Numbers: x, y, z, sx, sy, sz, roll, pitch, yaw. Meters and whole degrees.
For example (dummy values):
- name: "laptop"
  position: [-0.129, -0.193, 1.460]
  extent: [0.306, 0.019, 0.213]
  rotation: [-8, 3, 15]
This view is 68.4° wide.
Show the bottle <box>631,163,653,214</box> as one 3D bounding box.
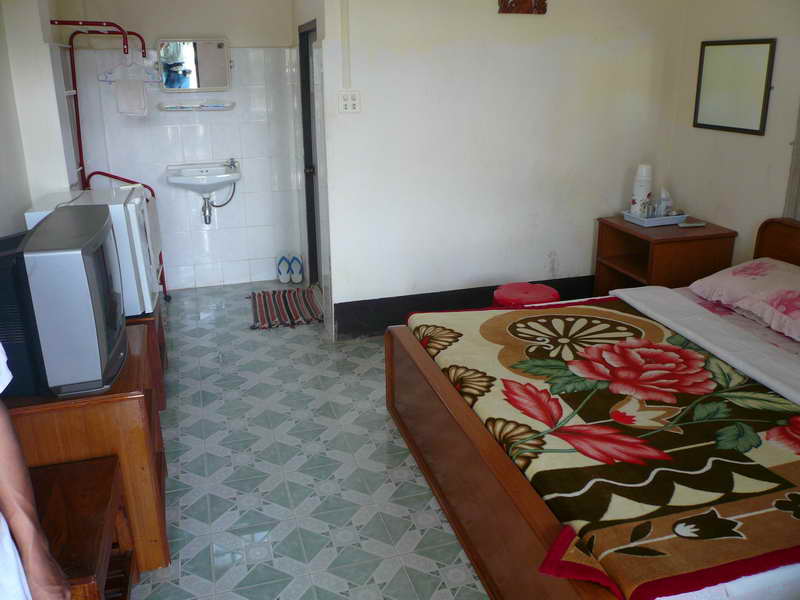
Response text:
- name: "bottle"
  position: [1.943, -0.884, 4.702]
  extent: [0.136, 0.372, 0.239]
  rotation: [6, 20, 21]

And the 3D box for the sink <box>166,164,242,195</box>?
- name: "sink"
  position: [-1.825, -1.133, 5.543]
  extent: [0.695, 0.290, 0.386]
  rotation: [-8, 20, -20]

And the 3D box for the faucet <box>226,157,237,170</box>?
- name: "faucet"
  position: [-1.618, -1.318, 5.694]
  extent: [0.092, 0.110, 0.119]
  rotation: [-1, 46, -11]

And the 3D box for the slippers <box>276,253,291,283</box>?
- name: "slippers"
  position: [-1.179, -0.319, 5.982]
  extent: [0.141, 0.284, 0.059]
  rotation: [0, 15, -5]

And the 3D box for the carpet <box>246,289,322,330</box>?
- name: "carpet"
  position: [-1.040, 0.063, 5.437]
  extent: [0.645, 0.108, 0.806]
  rotation: [-6, 19, -13]

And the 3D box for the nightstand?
- name: "nightstand"
  position: [2.108, -0.214, 4.794]
  extent: [0.726, 0.796, 0.875]
  rotation: [-4, 18, -2]

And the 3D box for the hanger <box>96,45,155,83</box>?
- name: "hanger"
  position: [-2.411, -2.096, 5.245]
  extent: [0.460, 0.109, 0.259]
  rotation: [-9, 11, -5]

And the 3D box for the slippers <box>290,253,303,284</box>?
- name: "slippers"
  position: [-1.053, -0.319, 6.054]
  extent: [0.144, 0.282, 0.098]
  rotation: [-6, 20, -13]

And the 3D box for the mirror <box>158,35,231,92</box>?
- name: "mirror"
  position: [-1.860, -2.156, 5.372]
  extent: [0.612, 0.460, 0.093]
  rotation: [-9, 20, -21]

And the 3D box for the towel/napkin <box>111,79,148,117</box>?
- name: "towel/napkin"
  position: [-2.406, -1.812, 5.240]
  extent: [0.336, 0.373, 0.204]
  rotation: [0, 5, -6]
